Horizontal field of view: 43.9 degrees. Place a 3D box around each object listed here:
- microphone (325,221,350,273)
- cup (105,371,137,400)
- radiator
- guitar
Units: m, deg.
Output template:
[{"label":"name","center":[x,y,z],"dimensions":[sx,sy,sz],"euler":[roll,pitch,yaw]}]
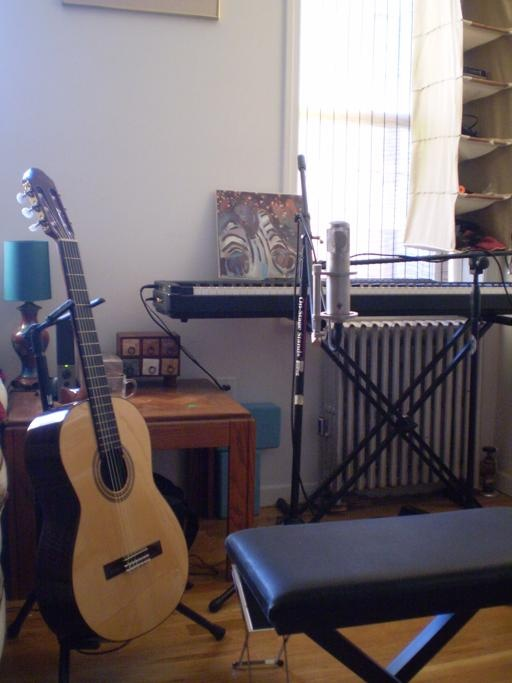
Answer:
[{"label":"microphone","center":[0.166,-0.190,1.286],"dimensions":[0.047,0.108,0.045],"euler":[2,5,4]},{"label":"cup","center":[-0.438,0.133,1.978],"dimensions":[0.096,0.116,0.063],"euler":[1,5,23]},{"label":"radiator","center":[0.610,0.258,2.543],"dimensions":[0.588,0.850,0.203],"euler":[-1,-2,5]},{"label":"guitar","center":[-0.410,0.121,1.508],"dimensions":[0.449,1.064,0.325],"euler":[4,6,28]}]
